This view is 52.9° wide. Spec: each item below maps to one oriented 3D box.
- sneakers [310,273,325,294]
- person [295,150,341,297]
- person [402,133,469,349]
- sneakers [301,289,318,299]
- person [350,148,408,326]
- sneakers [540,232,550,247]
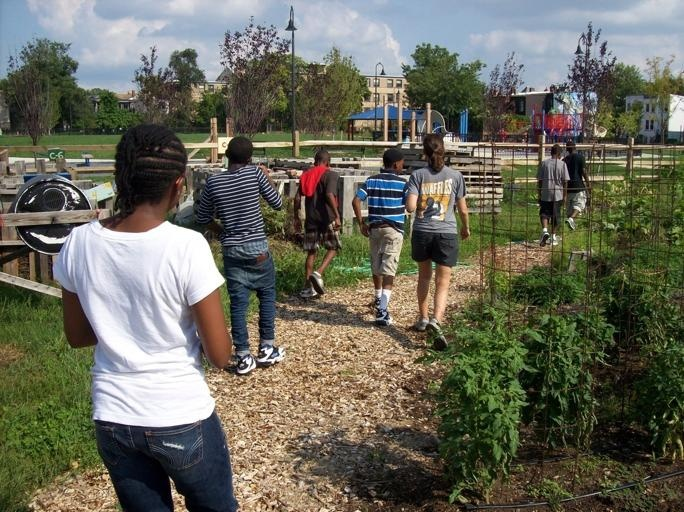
[{"bbox_3d":[-0.331,0.380,9.521,0.128,0.329,0.150,5,44,41],"label":"sneakers"},{"bbox_3d":[-0.318,-0.429,9.488,0.584,2.005,0.500,1,12,-1],"label":"person"},{"bbox_3d":[1.040,-0.174,7.656,0.634,2.305,0.564,11,15,41],"label":"person"},{"bbox_3d":[-0.456,0.514,9.602,0.101,0.128,0.257,3,9,19],"label":"sneakers"},{"bbox_3d":[0.454,-0.249,8.424,0.611,2.106,1.011,1,12,1],"label":"person"},{"bbox_3d":[3.761,-0.302,12.782,0.136,0.184,0.406,3,-19,8],"label":"sneakers"}]
